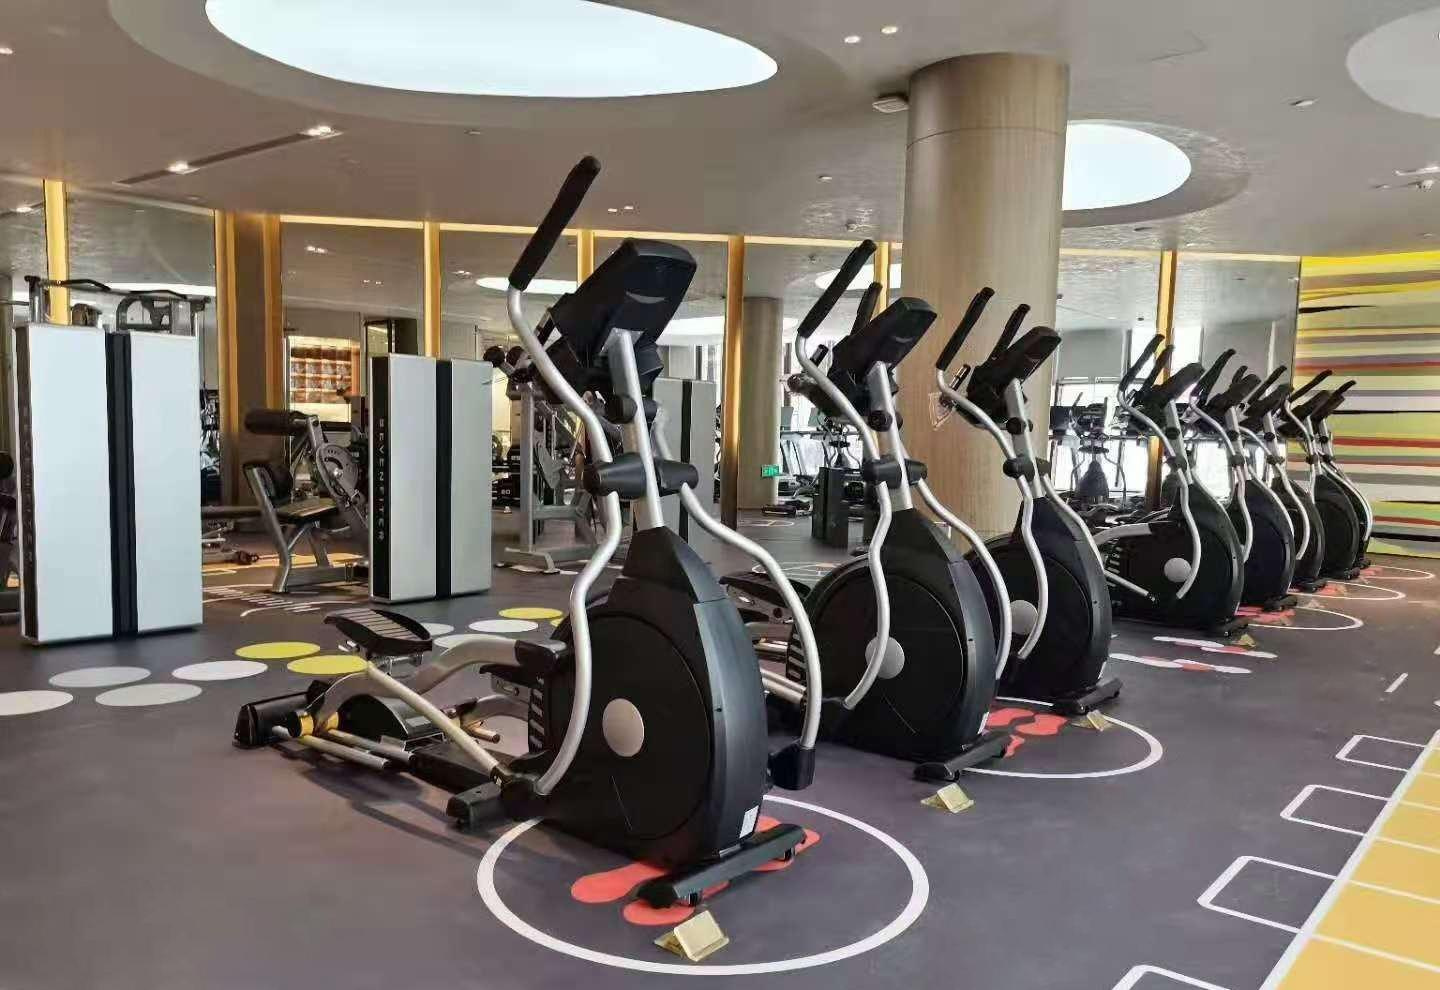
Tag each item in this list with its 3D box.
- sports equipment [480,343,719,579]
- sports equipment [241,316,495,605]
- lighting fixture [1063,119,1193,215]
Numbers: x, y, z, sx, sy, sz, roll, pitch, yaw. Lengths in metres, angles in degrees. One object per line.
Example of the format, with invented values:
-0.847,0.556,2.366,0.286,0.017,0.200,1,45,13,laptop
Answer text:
-0.957,-0.445,8.570,1.974,1.937,1.496,1,1,-17,sports equipment
-2.805,-0.129,7.685,1.476,1.802,1.282,2,2,15,sports equipment
3.815,-3.123,9.328,1.003,0.625,1.309,3,11,9,lighting fixture
